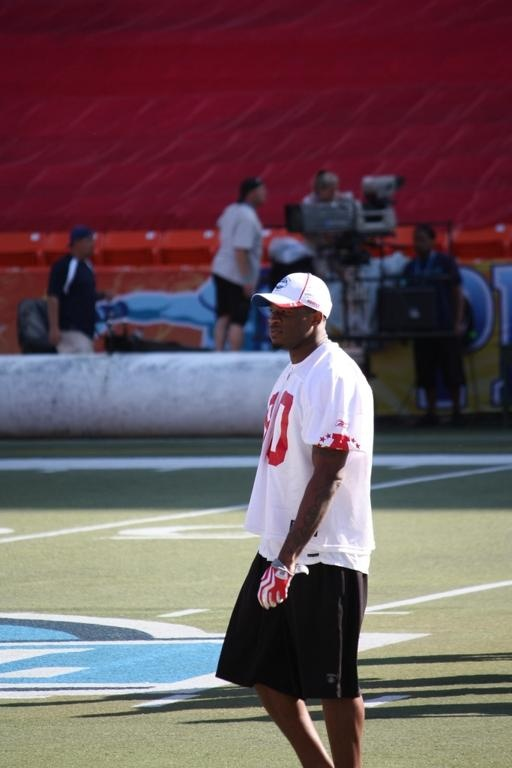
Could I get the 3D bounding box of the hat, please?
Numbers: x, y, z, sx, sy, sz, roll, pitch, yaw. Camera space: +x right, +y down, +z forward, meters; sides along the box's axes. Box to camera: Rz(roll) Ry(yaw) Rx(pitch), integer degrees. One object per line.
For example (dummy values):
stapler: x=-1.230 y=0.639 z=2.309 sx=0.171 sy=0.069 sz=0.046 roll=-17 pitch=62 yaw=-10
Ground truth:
hat: x=0.149 y=-0.324 z=7.376 sx=0.236 sy=0.150 sz=0.166 roll=17 pitch=1 yaw=-11

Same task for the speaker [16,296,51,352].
speaker: x=-2.034 y=-0.540 z=17.875 sx=0.269 sy=0.596 sz=0.387 roll=-6 pitch=-8 yaw=-16

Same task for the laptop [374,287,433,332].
laptop: x=1.370 y=-0.662 z=17.583 sx=0.556 sy=0.486 sz=0.328 roll=0 pitch=2 yaw=4

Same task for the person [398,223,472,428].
person: x=1.681 y=-0.531 z=18.440 sx=0.564 sy=1.957 sz=1.218 roll=-1 pitch=10 yaw=6

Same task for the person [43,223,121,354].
person: x=-1.509 y=-0.542 z=16.826 sx=0.429 sy=1.655 sz=0.568 roll=19 pitch=28 yaw=33
